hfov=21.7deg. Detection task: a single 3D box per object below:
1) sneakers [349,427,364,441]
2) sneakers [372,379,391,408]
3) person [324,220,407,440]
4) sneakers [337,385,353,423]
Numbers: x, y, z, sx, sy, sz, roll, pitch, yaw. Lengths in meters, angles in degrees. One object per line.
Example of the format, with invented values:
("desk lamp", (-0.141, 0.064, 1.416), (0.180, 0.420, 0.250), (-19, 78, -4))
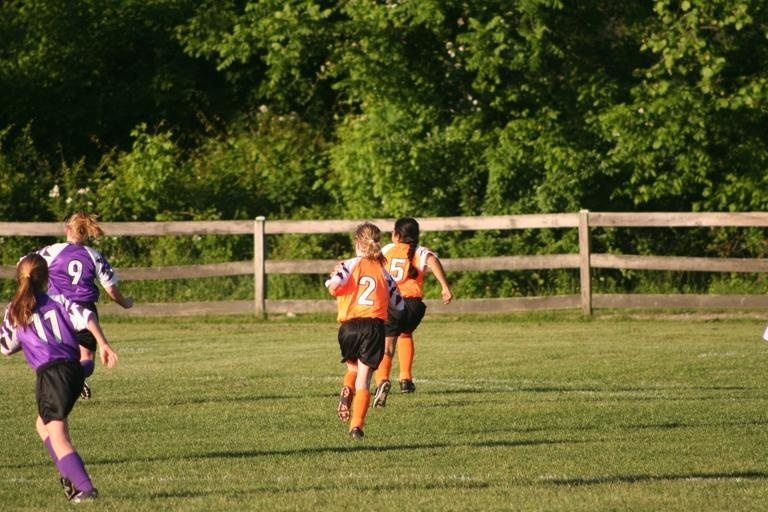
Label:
("sneakers", (-0.441, 2.547, 29.423), (0.161, 0.165, 0.380), (1, 4, 0))
("sneakers", (-0.055, 2.025, 30.161), (0.180, 0.491, 0.217), (12, 18, -28))
("person", (-0.349, 1.040, 29.818), (1.086, 2.217, 0.703), (-2, -1, -11))
("sneakers", (-0.603, 2.133, 29.709), (0.214, 0.513, 0.227), (3, -8, 15))
